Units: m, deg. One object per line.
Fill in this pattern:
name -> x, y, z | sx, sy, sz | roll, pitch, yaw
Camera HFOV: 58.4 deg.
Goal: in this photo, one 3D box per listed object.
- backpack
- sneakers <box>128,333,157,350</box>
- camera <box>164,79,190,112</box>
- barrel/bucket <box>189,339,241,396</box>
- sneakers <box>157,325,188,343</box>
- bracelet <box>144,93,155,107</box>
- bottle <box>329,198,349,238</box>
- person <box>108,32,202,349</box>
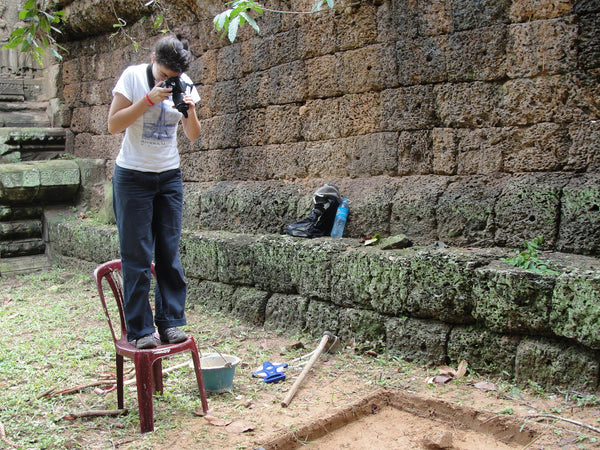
backpack -> 0.104, -0.157, 5.800 | 0.726, 0.618, 0.397 | 5, 7, -5
sneakers -> -1.082, 0.824, 3.783 | 0.082, 0.080, 0.210 | 6, -12, -32
camera -> -0.832, -0.901, 3.724 | 0.111, 0.229, 0.148 | -19, -15, -43
barrel/bucket -> -0.639, 1.147, 4.253 | 0.337, 0.195, 0.321 | 1, -1, 0
sneakers -> -0.907, 0.787, 3.892 | 0.234, 0.095, 0.100 | -2, 1, 37
bracelet -> -1.012, -0.849, 3.621 | 0.035, 0.066, 0.078 | -32, 3, -10
bottle -> 0.431, -0.080, 5.647 | 0.212, 0.384, 0.124 | -5, 11, -18
person -> -0.991, -0.245, 3.823 | 0.662, 2.165, 0.555 | -7, 12, -23
